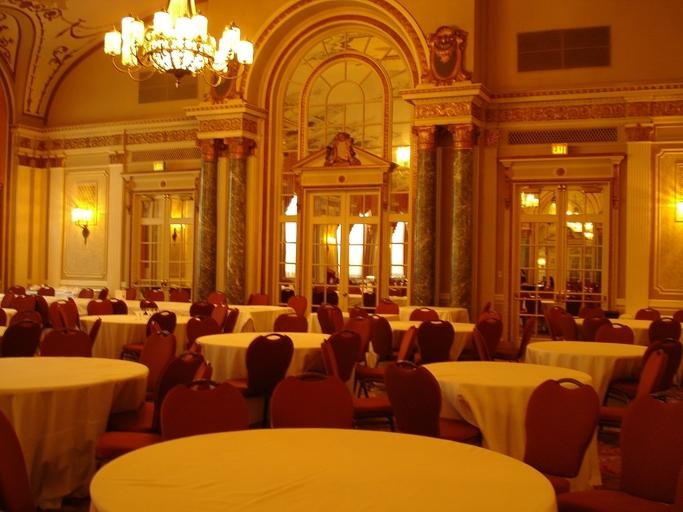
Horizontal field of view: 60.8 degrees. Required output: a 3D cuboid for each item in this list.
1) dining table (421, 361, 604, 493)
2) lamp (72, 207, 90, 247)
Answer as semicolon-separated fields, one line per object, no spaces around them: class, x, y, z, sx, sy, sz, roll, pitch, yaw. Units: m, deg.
dining table;1.332;1.314;4.425;1.036;0.682;1.062;-5;-14;32
lamp;-5.886;-0.682;13.277;0.430;0.878;0.162;3;-1;11
